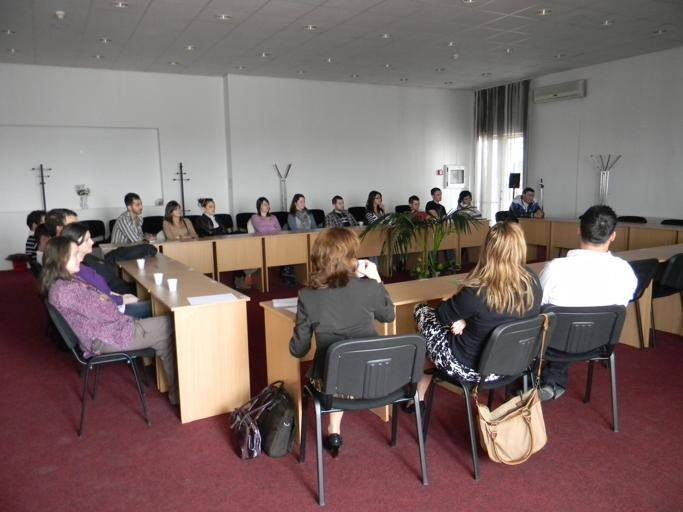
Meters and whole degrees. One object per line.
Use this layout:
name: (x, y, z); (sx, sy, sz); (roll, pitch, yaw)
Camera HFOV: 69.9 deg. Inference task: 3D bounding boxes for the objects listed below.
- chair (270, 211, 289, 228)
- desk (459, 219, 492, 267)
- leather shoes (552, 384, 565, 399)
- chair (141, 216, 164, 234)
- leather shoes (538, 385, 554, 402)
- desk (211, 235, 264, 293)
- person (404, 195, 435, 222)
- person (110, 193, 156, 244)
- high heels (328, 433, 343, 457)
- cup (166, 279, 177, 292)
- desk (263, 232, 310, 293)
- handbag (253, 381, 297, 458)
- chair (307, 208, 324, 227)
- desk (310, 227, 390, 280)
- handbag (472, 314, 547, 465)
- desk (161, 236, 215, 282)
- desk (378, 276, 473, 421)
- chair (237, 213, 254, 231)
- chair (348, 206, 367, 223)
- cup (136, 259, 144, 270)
chair: (-1.094, -0.696, 8.924); (0.355, 0.513, 0.419); (0, 8, -3)
desk: (1.737, -0.194, 6.449); (0.209, 0.652, 0.634); (10, 16, 39)
leather shoes: (1.608, 1.022, 3.684); (0.118, 0.050, 0.118); (-11, 9, -41)
chair: (-3.179, -0.518, 8.248); (0.313, 0.451, 0.339); (-5, 14, -35)
leather shoes: (1.491, 1.004, 3.638); (0.116, 0.125, 0.117); (0, -2, -35)
desk: (-1.403, -0.010, 6.845); (0.747, 0.825, 0.650); (-3, 15, -13)
person: (1.255, -0.676, 7.924); (0.466, 0.617, 0.986); (-1, 11, 4)
person: (-2.681, -0.440, 6.379); (0.489, 0.755, 0.419); (10, 20, -3)
high heels: (-0.039, 1.236, 3.188); (0.054, 0.076, 0.172); (-1, 6, -5)
cup: (-1.338, 0.233, 3.897); (0.087, 0.105, 0.091); (1, 6, 0)
desk: (-0.824, 0.111, 7.141); (0.813, 0.898, 0.652); (-4, 13, -16)
handbag: (-0.428, 1.056, 3.299); (0.242, 0.507, 0.353); (8, 6, -33)
chair: (-0.426, -0.737, 9.390); (0.310, 0.464, 0.362); (-2, 4, -19)
desk: (-0.014, 0.016, 3.004); (0.383, 0.367, 0.264); (10, -7, -31)
handbag: (1.022, 0.810, 2.918); (0.497, 0.932, 0.319); (-7, 8, -25)
desk: (-1.963, -0.072, 6.374); (0.592, 0.617, 0.475); (-4, 14, -22)
desk: (0.556, 0.636, 3.192); (0.815, 0.600, 0.441); (-5, 15, -8)
chair: (-1.787, -0.655, 8.883); (0.301, 0.422, 0.357); (-2, 10, -16)
chair: (0.338, -0.866, 9.946); (0.283, 0.412, 0.319); (2, 15, 8)
cup: (-1.935, 0.078, 4.758); (0.087, 0.106, 0.089); (-1, 8, 0)
